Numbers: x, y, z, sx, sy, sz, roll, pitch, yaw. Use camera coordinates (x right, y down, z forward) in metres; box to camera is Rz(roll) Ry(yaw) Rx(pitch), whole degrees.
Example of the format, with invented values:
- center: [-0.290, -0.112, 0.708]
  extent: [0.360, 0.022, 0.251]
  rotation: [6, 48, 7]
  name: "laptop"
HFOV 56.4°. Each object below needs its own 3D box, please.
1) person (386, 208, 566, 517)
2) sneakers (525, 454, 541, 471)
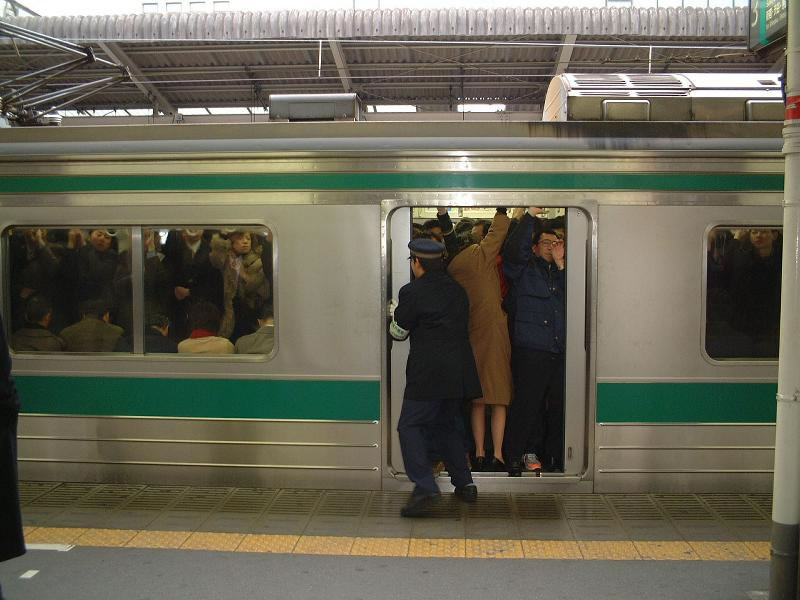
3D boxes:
- center: [0.269, 0.588, 6.063]
  extent: [0.760, 2.161, 0.593]
  rotation: [-3, 1, -22]
  name: "person"
- center: [1.114, 1.359, 6.307]
  extent: [0.138, 0.127, 0.095]
  rotation: [-8, 5, -27]
  name: "sneakers"
